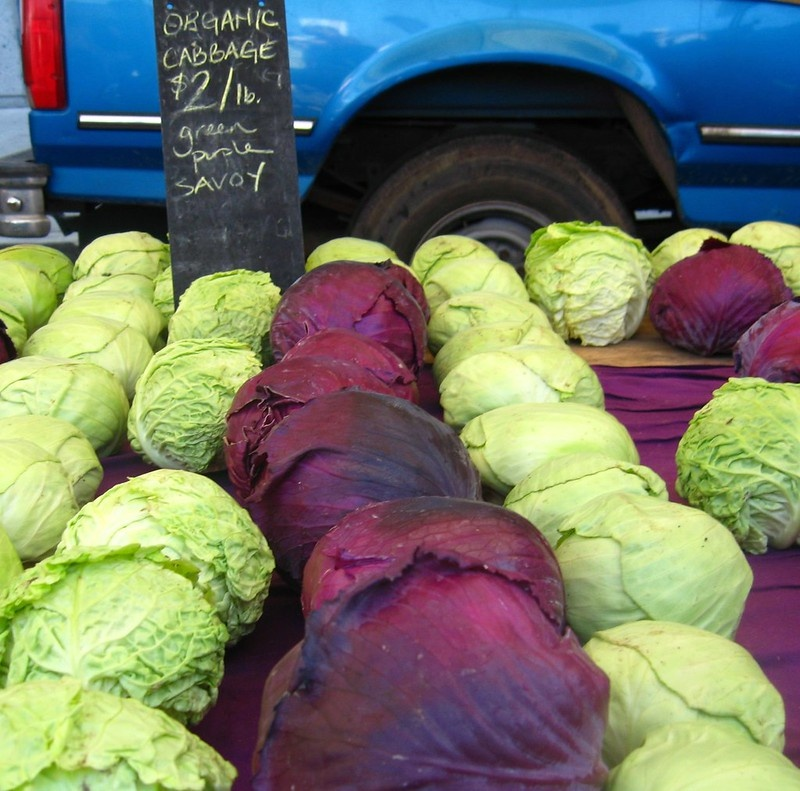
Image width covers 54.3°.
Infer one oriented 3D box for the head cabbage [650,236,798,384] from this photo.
[{"bbox_3d":[1.169,-0.365,3.249,0.733,0.524,0.573,-8,15,-31],"label":"head cabbage"}]
